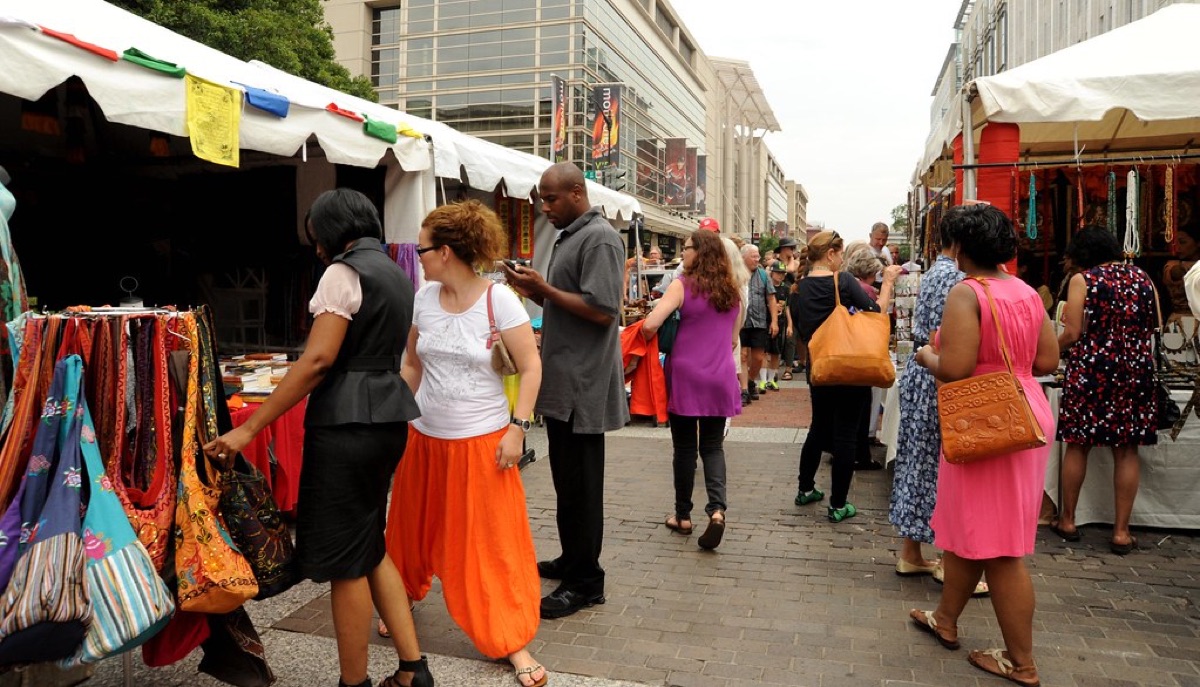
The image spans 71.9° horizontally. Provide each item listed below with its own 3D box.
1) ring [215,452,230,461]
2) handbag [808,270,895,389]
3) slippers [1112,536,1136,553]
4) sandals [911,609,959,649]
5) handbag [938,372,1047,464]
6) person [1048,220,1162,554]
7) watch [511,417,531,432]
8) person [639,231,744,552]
[{"bbox_3d":[-2.232,0.678,4.960,0.058,0.014,0.055,5,-38,4],"label":"ring"},{"bbox_3d":[2.206,-0.076,7.270,0.711,0.934,0.350,2,2,13],"label":"handbag"},{"bbox_3d":[4.426,1.693,7.018,0.334,0.116,0.133,0,3,-35],"label":"slippers"},{"bbox_3d":[2.337,1.978,5.849,0.141,0.133,0.351,-2,20,-24],"label":"sandals"},{"bbox_3d":[2.563,0.468,5.459,0.239,0.489,0.609,-11,-10,-43],"label":"handbag"},{"bbox_3d":[4.287,0.365,7.009,0.809,2.732,0.451,2,3,20],"label":"person"},{"bbox_3d":[-0.504,0.526,5.455,0.106,0.056,0.081,-2,0,16],"label":"watch"},{"bbox_3d":[0.826,0.376,7.107,0.741,2.704,0.612,2,2,8],"label":"person"}]
